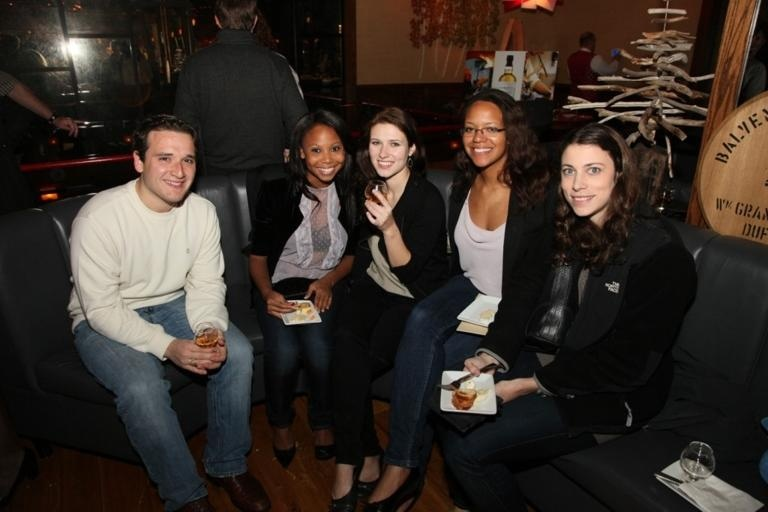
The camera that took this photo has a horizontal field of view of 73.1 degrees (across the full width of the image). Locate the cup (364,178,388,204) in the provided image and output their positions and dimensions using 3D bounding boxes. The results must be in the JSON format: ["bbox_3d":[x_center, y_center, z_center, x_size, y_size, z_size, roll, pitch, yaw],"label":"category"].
[{"bbox_3d":[-0.034,-0.376,2.982,0.123,0.149,0.138,2,8,6],"label":"cup"}]

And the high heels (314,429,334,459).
[{"bbox_3d":[-0.371,1.141,3.133,0.079,0.095,0.243,1,1,-3],"label":"high heels"}]

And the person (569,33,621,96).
[{"bbox_3d":[3.021,-2.773,7.651,0.583,0.983,1.593,8,25,17],"label":"person"}]

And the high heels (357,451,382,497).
[{"bbox_3d":[-0.077,1.225,2.932,0.101,0.115,0.299,-3,7,17],"label":"high heels"}]

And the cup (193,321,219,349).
[{"bbox_3d":[-0.954,0.435,2.788,0.114,0.096,0.177,-3,24,-7],"label":"cup"}]

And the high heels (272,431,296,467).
[{"bbox_3d":[-0.603,1.129,3.081,0.095,0.261,0.076,-12,8,-3],"label":"high heels"}]

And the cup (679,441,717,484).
[{"bbox_3d":[1.424,0.929,2.378,0.146,0.178,0.156,-1,3,0],"label":"cup"}]
